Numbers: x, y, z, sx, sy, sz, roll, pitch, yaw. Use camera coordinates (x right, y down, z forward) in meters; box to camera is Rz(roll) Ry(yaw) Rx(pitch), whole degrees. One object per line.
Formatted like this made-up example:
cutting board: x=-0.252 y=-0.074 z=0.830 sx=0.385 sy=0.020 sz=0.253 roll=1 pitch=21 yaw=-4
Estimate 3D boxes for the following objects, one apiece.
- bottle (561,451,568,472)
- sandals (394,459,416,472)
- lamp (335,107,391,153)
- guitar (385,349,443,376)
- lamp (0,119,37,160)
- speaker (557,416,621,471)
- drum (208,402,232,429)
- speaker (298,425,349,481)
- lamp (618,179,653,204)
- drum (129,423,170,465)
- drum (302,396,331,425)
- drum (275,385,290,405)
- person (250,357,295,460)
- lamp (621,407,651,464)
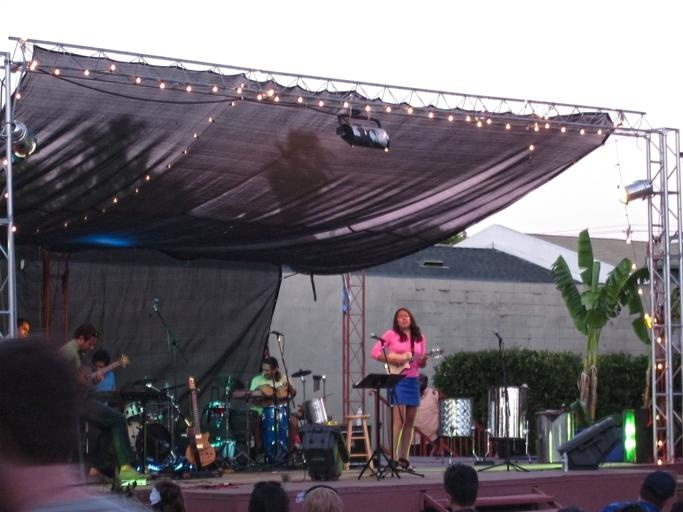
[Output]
bottle: x=3.625 y=3.272 z=23.286 sx=0.109 sy=0.293 sz=0.426 roll=-3 pitch=-10 yaw=9
sandals: x=0.985 y=3.229 z=22.524 sx=0.145 sy=0.172 sz=0.402 roll=15 pitch=-1 yaw=-40
lamp: x=0.351 y=-1.923 z=22.644 sx=1.025 sy=0.662 sz=0.367 roll=5 pitch=-9 yaw=-37
guitar: x=1.119 y=1.619 z=22.557 sx=0.954 sy=0.428 sz=0.124 roll=-14 pitch=0 yaw=5
lamp: x=-4.875 y=-1.759 z=21.793 sx=0.491 sy=0.521 sz=0.588 roll=4 pitch=-18 yaw=2
speaker: x=4.026 y=3.009 z=23.438 sx=1.100 sy=0.840 sz=0.385 roll=3 pitch=-10 yaw=-30
drum: x=-2.206 y=2.744 z=25.210 sx=0.344 sy=0.493 sz=0.465 roll=6 pitch=-13 yaw=-31
speaker: x=-0.291 y=3.016 z=22.435 sx=0.631 sy=0.881 sz=0.845 roll=-3 pitch=-9 yaw=7
lamp: x=5.118 y=-1.143 z=24.823 sx=0.561 sy=0.402 sz=0.210 roll=1 pitch=-9 yaw=-21
drum: x=-3.243 y=3.091 z=24.204 sx=0.585 sy=0.650 sz=0.611 roll=9 pitch=-8 yaw=-18
drum: x=-0.441 y=2.597 z=24.733 sx=0.421 sy=0.467 sz=0.664 roll=-2 pitch=-10 yaw=-2
drum: x=-1.033 y=2.364 z=24.998 sx=0.208 sy=0.307 sz=0.297 roll=-1 pitch=3 yaw=-3
person: x=-1.258 y=2.735 z=25.072 sx=0.910 sy=1.985 sz=0.924 roll=-2 pitch=-6 yaw=3
lamp: x=5.129 y=3.046 z=24.771 sx=0.460 sy=0.910 sz=0.495 roll=-2 pitch=-9 yaw=1
